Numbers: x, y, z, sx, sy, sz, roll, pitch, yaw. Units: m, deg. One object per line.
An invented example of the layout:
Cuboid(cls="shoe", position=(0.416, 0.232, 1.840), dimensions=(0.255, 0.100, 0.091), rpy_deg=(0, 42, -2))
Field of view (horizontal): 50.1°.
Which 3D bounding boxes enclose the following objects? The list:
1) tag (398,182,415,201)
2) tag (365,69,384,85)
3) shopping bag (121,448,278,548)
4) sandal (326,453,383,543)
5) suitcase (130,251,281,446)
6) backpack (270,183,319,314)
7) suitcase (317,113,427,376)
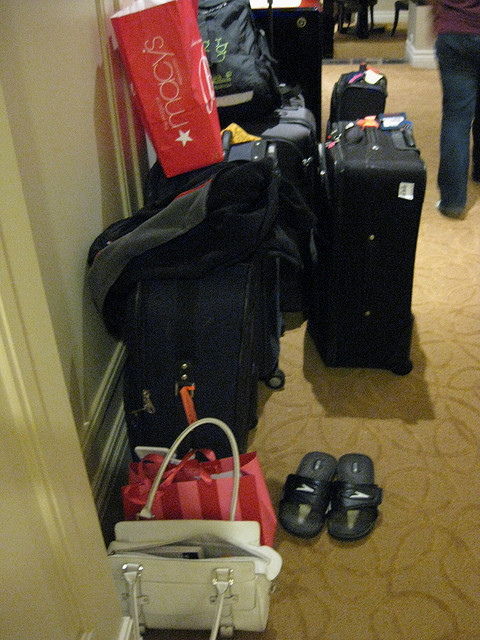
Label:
Cuboid(cls="tag", position=(0.466, -0.364, 1.435), dimensions=(0.045, 0.057, 0.006), rpy_deg=(0, 8, 9))
Cuboid(cls="tag", position=(0.717, -1.320, 2.783), dimensions=(0.094, 0.035, 0.097), rpy_deg=(29, 63, 12))
Cuboid(cls="shopping bag", position=(-0.087, 0.401, 1.117), dimensions=(0.347, 0.349, 0.136), rpy_deg=(-2, 25, 5))
Cuboid(cls="sandal", position=(0.301, 0.442, 1.339), dimensions=(0.122, 0.076, 0.319), rpy_deg=(-3, 21, 19))
Cuboid(cls="suitcase", position=(-0.053, 0.105, 1.546), dimensions=(0.336, 0.623, 0.641), rpy_deg=(1, 5, 18))
Cuboid(cls="backpack", position=(0.157, -0.201, 1.491), dimensions=(0.174, 0.340, 0.242), rpy_deg=(6, 54, 7))
Cuboid(cls="suitcase", position=(0.418, -0.221, 1.713), dimensions=(0.323, 0.729, 0.401), rpy_deg=(-1, 33, 10))
